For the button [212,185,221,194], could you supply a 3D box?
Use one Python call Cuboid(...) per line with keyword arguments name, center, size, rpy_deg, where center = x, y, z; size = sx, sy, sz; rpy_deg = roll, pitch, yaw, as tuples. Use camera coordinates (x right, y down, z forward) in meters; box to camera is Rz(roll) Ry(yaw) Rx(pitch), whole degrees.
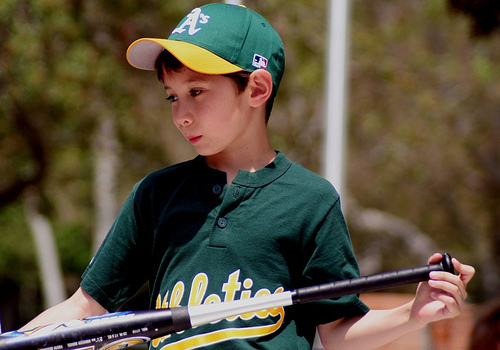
Cuboid(name="button", center=(-0.209, 0.082, 6.354), size=(0.047, 0.053, 0.009), rpy_deg=(6, -12, 5))
